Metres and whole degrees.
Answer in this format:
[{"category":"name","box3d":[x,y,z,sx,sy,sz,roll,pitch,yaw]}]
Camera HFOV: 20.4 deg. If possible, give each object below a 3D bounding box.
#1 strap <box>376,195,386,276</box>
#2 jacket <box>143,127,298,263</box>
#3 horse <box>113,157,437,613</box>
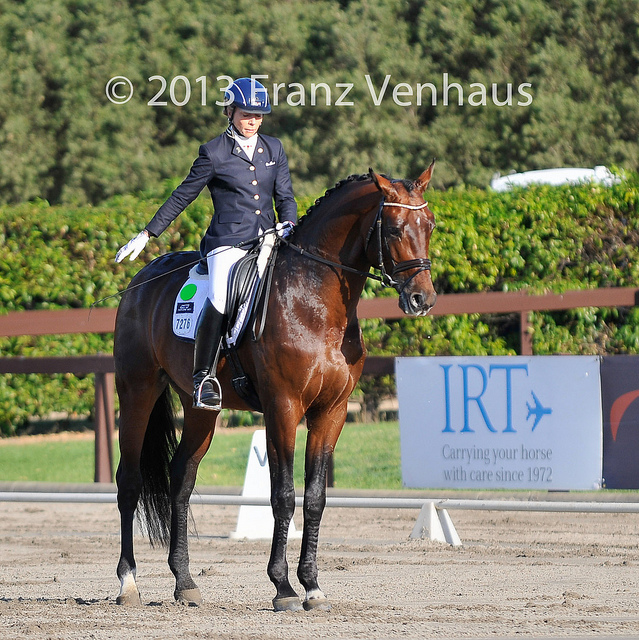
[{"category":"strap","box3d":[0.575,-0.786,16.852,0.073,0.761,0.067,1,-6,29]},{"category":"jacket","box3d":[-0.987,-1.277,17.712,1.296,2.814,1.134,-1,2,-40]},{"category":"horse","box3d":[-0.707,0.752,17.750,3.656,4.708,1.379,2,4,29]}]
